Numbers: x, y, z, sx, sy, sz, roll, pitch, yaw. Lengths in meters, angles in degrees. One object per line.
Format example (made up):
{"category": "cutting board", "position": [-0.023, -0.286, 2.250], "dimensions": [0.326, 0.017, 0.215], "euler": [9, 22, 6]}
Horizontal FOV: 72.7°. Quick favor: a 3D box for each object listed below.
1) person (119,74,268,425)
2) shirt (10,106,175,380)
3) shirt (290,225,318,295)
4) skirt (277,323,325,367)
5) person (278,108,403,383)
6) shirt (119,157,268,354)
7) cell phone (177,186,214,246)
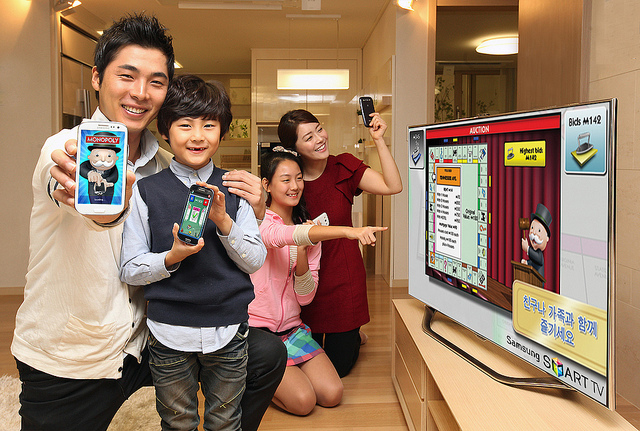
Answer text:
{"category": "person", "position": [-0.544, 0.139, 1.889], "dimensions": [0.522, 1.524, 0.435], "euler": [-7, 10, -42]}
{"category": "shirt", "position": [-0.911, 0.073, 1.932], "dimensions": [0.614, 1.199, 0.693], "euler": [5, -4, -34]}
{"category": "shirt", "position": [-0.104, 0.268, 2.613], "dimensions": [0.250, 0.403, 0.110], "euler": [10, 10, 34]}
{"category": "skirt", "position": [-0.131, 0.869, 2.920], "dimensions": [0.252, 0.287, 0.120], "euler": [-21, -20, -19]}
{"category": "person", "position": [0.098, 0.266, 3.189], "dimensions": [0.977, 2.190, 0.898], "euler": [-7, 11, -23]}
{"category": "shirt", "position": [-0.544, 0.154, 1.886], "dimensions": [0.583, 0.813, 0.339], "euler": [-4, 9, -29]}
{"category": "cell phone", "position": [-0.483, -0.003, 1.709], "dimensions": [0.116, 0.226, 0.083], "euler": [2, 8, 12]}
